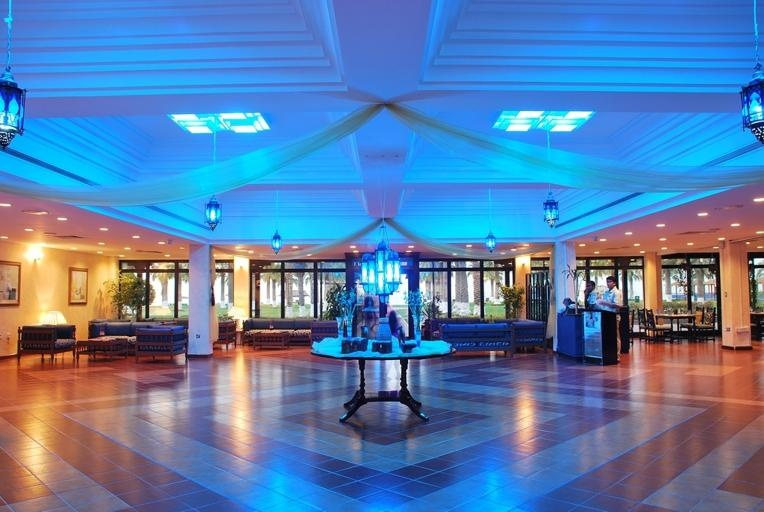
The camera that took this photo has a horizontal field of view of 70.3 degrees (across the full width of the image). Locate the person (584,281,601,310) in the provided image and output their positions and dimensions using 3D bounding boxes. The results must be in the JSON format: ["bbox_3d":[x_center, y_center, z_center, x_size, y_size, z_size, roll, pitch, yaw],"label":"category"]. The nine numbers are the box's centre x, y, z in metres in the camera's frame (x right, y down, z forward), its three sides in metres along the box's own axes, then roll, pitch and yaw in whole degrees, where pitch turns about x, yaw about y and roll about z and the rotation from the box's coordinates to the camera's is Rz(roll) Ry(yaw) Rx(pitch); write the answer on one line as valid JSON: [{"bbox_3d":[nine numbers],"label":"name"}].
[{"bbox_3d":[5.356,1.017,13.896,0.295,0.722,1.019,-3,-6,20],"label":"person"}]

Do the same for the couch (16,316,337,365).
[{"bbox_3d":[-6.317,2.563,16.941,8.472,1.086,3.798,2,-7,-29],"label":"couch"}]

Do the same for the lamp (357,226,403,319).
[{"bbox_3d":[-0.026,0.237,9.038,0.613,1.089,0.732,-1,-6,0],"label":"lamp"}]
